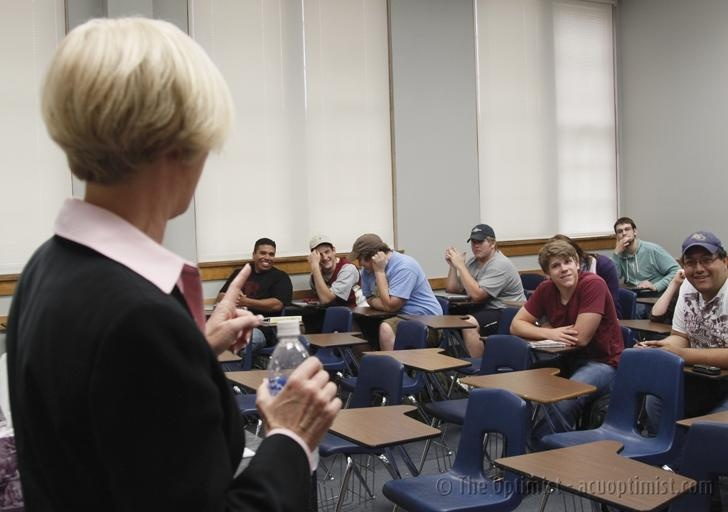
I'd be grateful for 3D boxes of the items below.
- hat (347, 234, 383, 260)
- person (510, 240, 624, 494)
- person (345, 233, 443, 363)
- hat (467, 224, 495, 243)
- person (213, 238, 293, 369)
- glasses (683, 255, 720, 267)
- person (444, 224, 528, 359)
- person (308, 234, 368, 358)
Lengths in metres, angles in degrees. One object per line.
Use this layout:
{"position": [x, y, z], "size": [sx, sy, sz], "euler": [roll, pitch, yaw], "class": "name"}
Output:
{"position": [0.005, -0.089, 5.424], "size": [0.256, 0.141, 0.190], "euler": [-12, 29, 25], "class": "hat"}
{"position": [1.273, 0.626, 3.893], "size": [0.762, 1.471, 0.681], "euler": [4, -2, -36], "class": "person"}
{"position": [0.318, 0.480, 5.496], "size": [0.843, 1.348, 0.630], "euler": [-2, 0, -13], "class": "person"}
{"position": [1.131, -0.228, 5.783], "size": [0.231, 0.142, 0.166], "euler": [4, -6, -43], "class": "hat"}
{"position": [-1.090, 0.569, 5.781], "size": [0.686, 1.521, 0.793], "euler": [5, 5, 3], "class": "person"}
{"position": [1.807, 0.023, 3.250], "size": [0.175, 0.063, 0.088], "euler": [-1, 7, 38], "class": "glasses"}
{"position": [1.116, 0.474, 5.719], "size": [0.767, 1.480, 0.619], "euler": [0, -1, -12], "class": "person"}
{"position": [-0.238, 0.374, 5.377], "size": [0.517, 0.500, 0.949], "euler": [12, 25, -15], "class": "person"}
